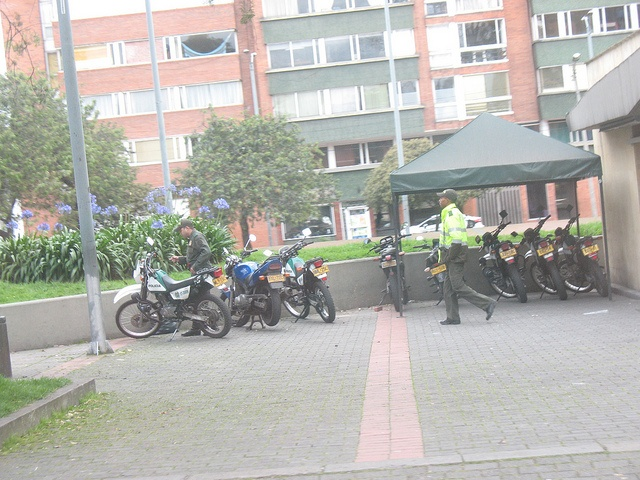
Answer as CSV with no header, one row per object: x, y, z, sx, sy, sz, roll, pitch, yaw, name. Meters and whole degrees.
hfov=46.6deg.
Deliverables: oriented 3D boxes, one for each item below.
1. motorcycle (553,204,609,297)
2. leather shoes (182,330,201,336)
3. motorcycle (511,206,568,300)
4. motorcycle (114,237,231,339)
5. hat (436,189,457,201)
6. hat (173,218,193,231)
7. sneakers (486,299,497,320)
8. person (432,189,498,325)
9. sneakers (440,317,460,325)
5.031,0.429,14.333,0.863,1.050,1.633,-22,11,6,motorcycle
-2.337,1.686,13.606,0.383,0.154,0.127,2,0,-6,leather shoes
4.619,0.331,14.793,0.879,1.042,1.675,-22,6,9,motorcycle
-2.671,0.999,13.274,2.241,1.587,0.488,-2,6,20,motorcycle
2.233,-0.795,13.011,0.303,0.153,0.194,10,9,14,hat
-2.534,-0.289,13.631,0.376,0.187,0.236,-5,1,-7,hat
2.944,1.213,12.671,0.175,0.396,0.136,4,32,0,sneakers
2.506,0.260,13.109,0.853,2.313,1.249,-4,6,9,person
2.287,1.387,12.898,0.342,0.138,0.124,2,5,10,sneakers
